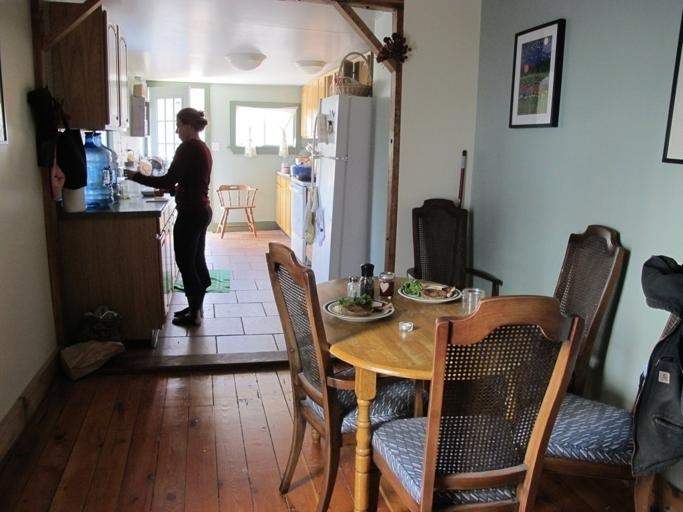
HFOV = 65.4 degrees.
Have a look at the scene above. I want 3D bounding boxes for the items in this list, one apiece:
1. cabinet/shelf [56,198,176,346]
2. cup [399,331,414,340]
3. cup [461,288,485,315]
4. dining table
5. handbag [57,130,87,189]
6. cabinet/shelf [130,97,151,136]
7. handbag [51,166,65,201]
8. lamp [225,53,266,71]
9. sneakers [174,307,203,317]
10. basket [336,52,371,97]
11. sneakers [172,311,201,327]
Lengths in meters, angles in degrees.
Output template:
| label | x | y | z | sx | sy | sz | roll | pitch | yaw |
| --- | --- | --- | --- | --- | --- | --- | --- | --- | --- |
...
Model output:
| label | x | y | z | sx | sy | sz | roll | pitch | yaw |
| --- | --- | --- | --- | --- | --- | --- | --- | --- | --- |
| cabinet/shelf | -1.747 | 0.128 | 4.480 | 0.819 | 1.342 | 1.568 | -3 | 12 | -15 |
| cup | 0.286 | 0.352 | 2.350 | 0.032 | 0.021 | 0.033 | -2 | 11 | 0 |
| cup | 0.600 | 0.209 | 2.441 | 0.105 | 0.108 | 0.095 | -3 | 14 | -15 |
| dining table | 0.292 | 0.230 | 2.392 | 0.763 | 0.753 | 1.492 | -4 | 18 | -15 |
| handbag | -1.847 | -0.662 | 3.610 | 0.161 | 0.383 | 0.089 | -11 | 18 | -37 |
| cabinet/shelf | -2.230 | -1.546 | 5.789 | 0.151 | 0.424 | 0.450 | -2 | 19 | -19 |
| handbag | -1.901 | -0.479 | 3.557 | 0.060 | 0.194 | 0.148 | -2 | 12 | -7 |
| lamp | -1.044 | -2.234 | 6.042 | 0.437 | 0.145 | 0.407 | 2 | 14 | 9 |
| sneakers | -1.305 | 0.481 | 4.562 | 0.260 | 0.106 | 0.096 | 3 | 2 | -10 |
| basket | 0.110 | -1.674 | 4.884 | 0.380 | 0.399 | 0.272 | -6 | 19 | -39 |
| sneakers | -1.320 | 0.528 | 4.510 | 0.184 | 0.070 | 0.137 | 3 | 4 | 16 |
